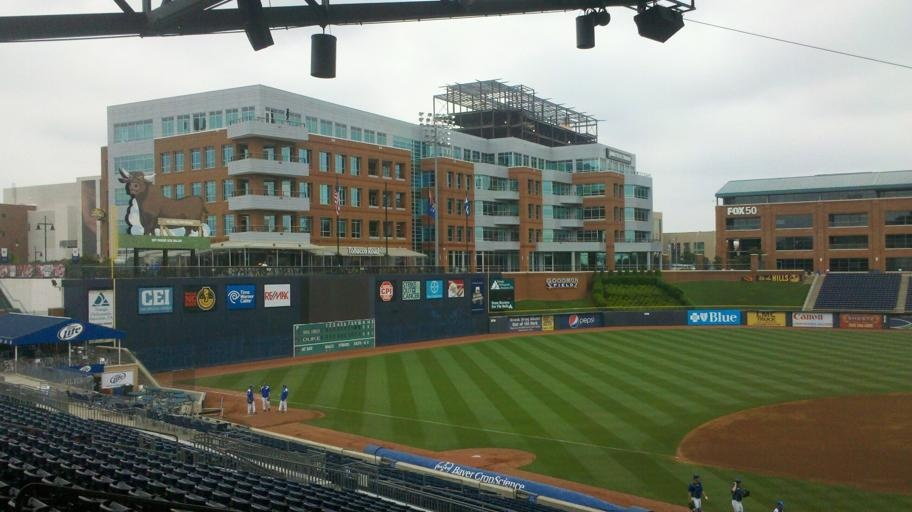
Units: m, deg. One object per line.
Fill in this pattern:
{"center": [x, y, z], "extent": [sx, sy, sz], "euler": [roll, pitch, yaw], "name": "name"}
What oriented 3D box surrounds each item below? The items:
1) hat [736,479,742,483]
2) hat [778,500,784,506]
{"center": [23.328, 18.772, 94.006], "extent": [0.687, 0.210, 0.351], "euler": [1, 0, 22], "name": "hat"}
{"center": [26.315, 20.231, 92.225], "extent": [0.617, 0.616, 0.711], "euler": [0, -16, 9], "name": "hat"}
